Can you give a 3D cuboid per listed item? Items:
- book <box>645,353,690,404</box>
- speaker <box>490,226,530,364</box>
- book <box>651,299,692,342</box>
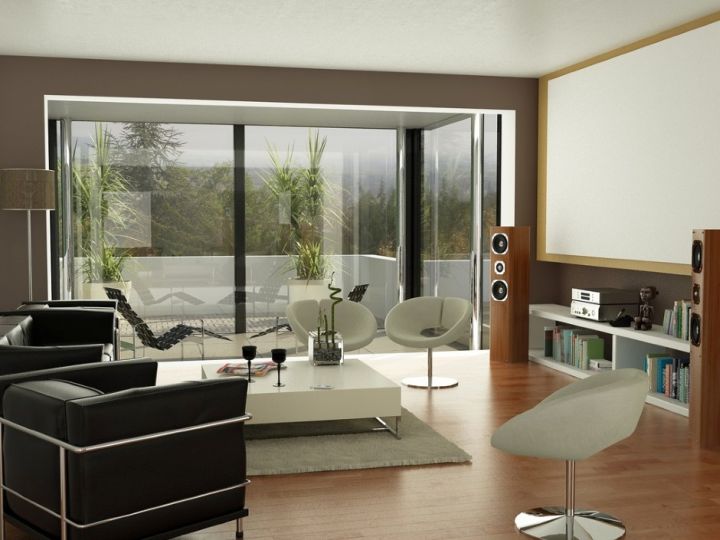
[{"bbox_3d":[2.946,1.031,5.395,0.170,0.370,0.487,-1,5,-14],"label":"book"},{"bbox_3d":[1.888,0.321,7.159,0.469,1.697,0.221,1,5,12],"label":"speaker"},{"bbox_3d":[2.906,0.471,5.398,0.354,0.506,0.336,1,2,6],"label":"book"}]
